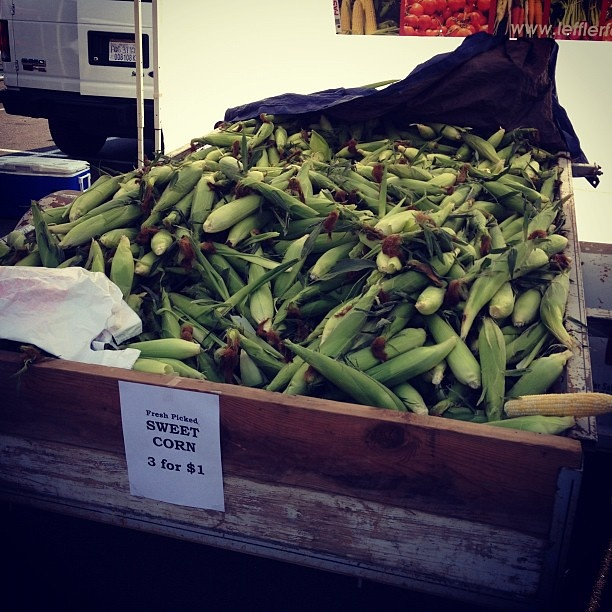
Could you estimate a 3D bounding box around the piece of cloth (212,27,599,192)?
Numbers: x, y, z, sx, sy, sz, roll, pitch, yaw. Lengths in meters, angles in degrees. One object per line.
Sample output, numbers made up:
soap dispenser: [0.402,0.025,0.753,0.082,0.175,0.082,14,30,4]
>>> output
piece of cloth: [0.633,-1.417,3.545,2.809,0.810,0.836,0,12,0]
